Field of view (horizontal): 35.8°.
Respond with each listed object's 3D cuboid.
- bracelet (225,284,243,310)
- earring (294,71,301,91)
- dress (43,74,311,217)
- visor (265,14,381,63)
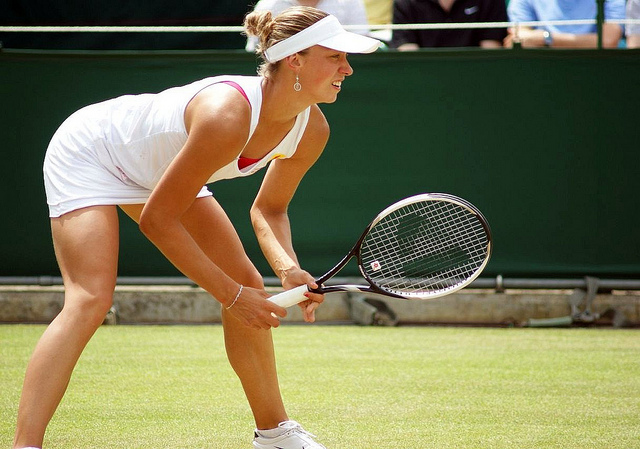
[{"bbox_3d":[-0.438,0.384,5.117,0.119,0.030,0.092,-39,6,-7],"label":"bracelet"},{"bbox_3d":[-0.113,-0.728,5.094,0.033,0.078,0.021,0,15,4],"label":"earring"},{"bbox_3d":[-0.929,-0.481,5.431,1.234,0.441,0.673,-5,-14,-1],"label":"dress"},{"bbox_3d":[0.003,-0.925,5.099,0.444,0.158,0.262,-21,1,17],"label":"visor"}]
